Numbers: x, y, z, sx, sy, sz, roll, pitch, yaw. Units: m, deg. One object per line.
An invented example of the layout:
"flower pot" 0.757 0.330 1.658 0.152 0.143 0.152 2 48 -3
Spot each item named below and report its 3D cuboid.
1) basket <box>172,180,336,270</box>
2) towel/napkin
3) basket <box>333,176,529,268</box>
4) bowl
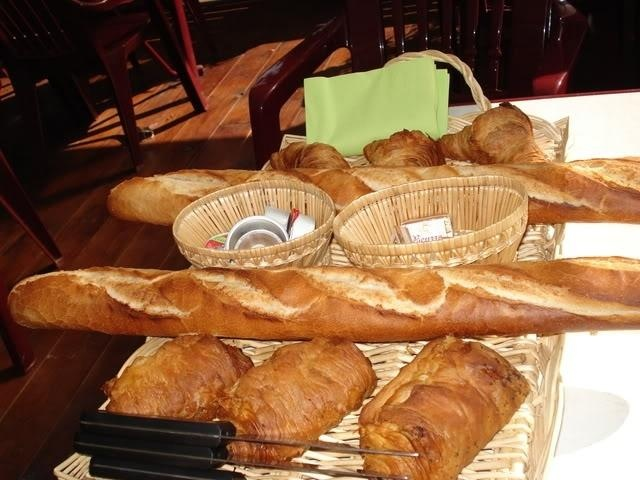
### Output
"basket" -0.131 -0.061 0.766 0.232 0.070 0.206 -11 28 -10
"towel/napkin" 0.143 -0.319 1.080 0.348 0.189 0.096 -3 -3 15
"basket" 0.181 -0.001 0.772 0.273 0.076 0.181 -7 23 12
"bowl" -0.099 -0.024 0.749 0.132 0.037 0.082 -15 24 -17
